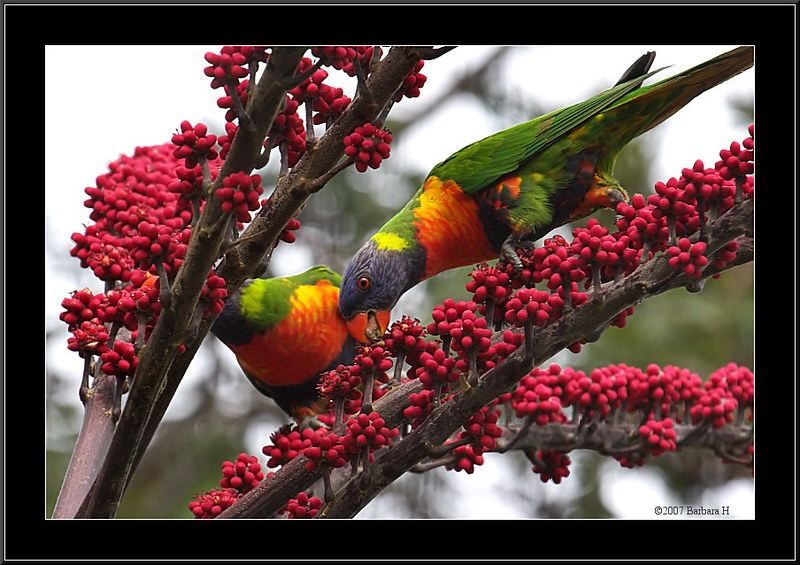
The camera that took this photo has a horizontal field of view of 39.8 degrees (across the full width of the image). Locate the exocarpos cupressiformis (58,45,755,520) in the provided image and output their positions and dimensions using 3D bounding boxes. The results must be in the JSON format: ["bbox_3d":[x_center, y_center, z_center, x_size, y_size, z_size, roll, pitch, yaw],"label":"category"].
[{"bbox_3d":[0.073,0.084,5.123,3.799,1.427,0.867,-33,-50,-22],"label":"exocarpos cupressiformis"}]
